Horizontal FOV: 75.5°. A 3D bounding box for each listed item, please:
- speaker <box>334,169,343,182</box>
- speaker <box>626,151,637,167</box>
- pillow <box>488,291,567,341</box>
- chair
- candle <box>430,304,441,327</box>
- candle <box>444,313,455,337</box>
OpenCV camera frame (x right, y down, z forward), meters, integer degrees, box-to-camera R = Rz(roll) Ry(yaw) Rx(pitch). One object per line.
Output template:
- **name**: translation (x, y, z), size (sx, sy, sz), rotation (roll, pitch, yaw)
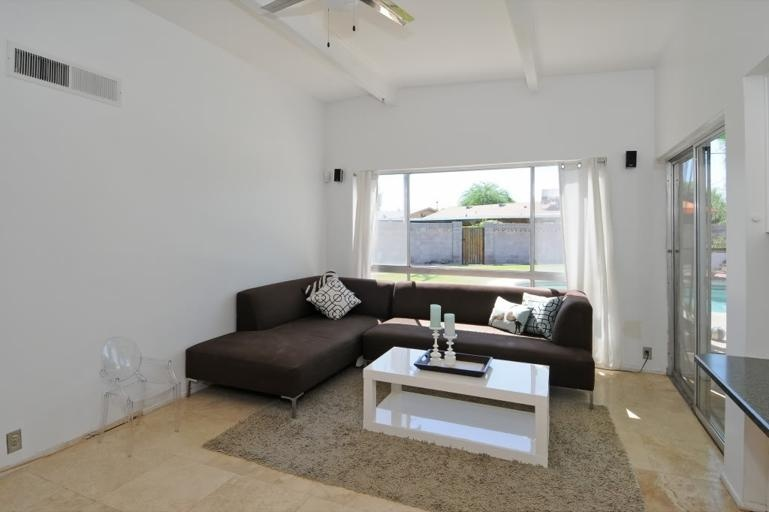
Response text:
- **speaker**: translation (-0.633, -1.107, 6.797), size (0.142, 0.182, 0.089), rotation (2, 5, 33)
- **speaker**: translation (2.780, -1.099, 5.586), size (0.127, 0.192, 0.067), rotation (0, 5, 11)
- **pillow**: translation (1.577, 0.606, 5.378), size (0.527, 0.501, 0.160), rotation (7, -23, 47)
- **chair**: translation (-2.115, 1.157, 4.390), size (0.723, 0.902, 0.641), rotation (-4, 6, -39)
- **candle**: translation (0.461, 0.542, 4.471), size (0.075, 0.202, 0.065), rotation (0, 5, 13)
- **candle**: translation (0.596, 0.627, 4.562), size (0.089, 0.237, 0.184), rotation (-1, 4, 4)
